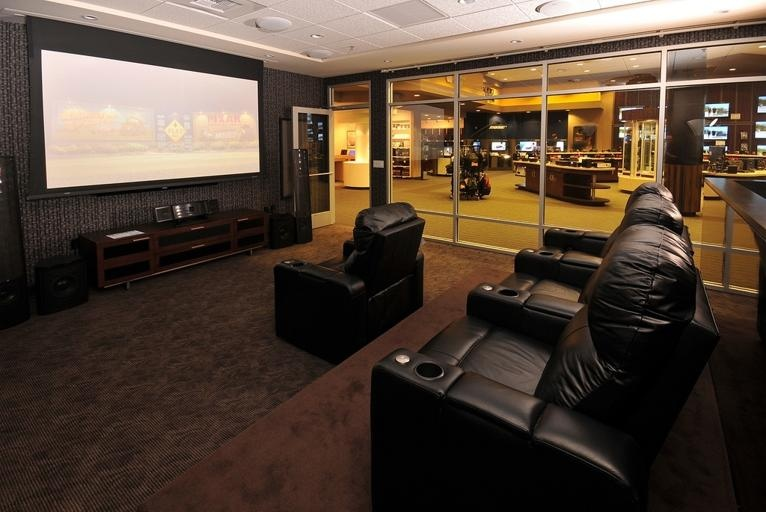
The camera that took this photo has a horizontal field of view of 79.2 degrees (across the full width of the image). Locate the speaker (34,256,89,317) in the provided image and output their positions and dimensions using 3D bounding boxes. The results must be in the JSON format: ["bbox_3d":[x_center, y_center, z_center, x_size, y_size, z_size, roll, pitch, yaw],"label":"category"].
[{"bbox_3d":[-3.603,0.356,5.172,0.473,0.652,0.611,6,9,29],"label":"speaker"}]

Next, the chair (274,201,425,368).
[{"bbox_3d":[-0.300,0.086,4.773,1.119,1.200,1.371,12,18,30],"label":"chair"}]
